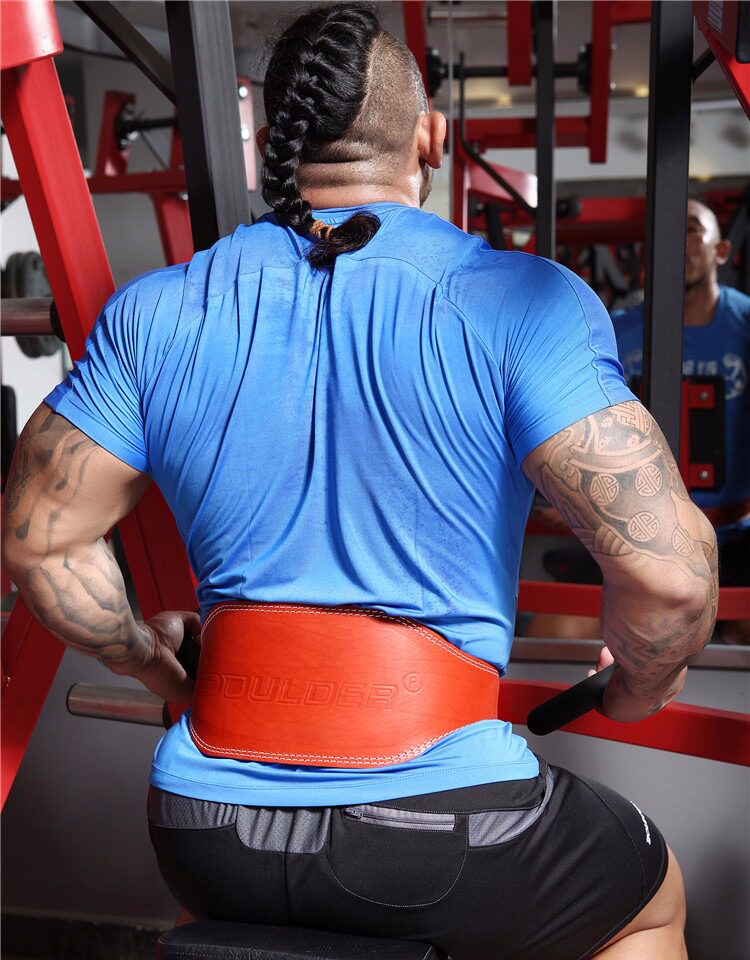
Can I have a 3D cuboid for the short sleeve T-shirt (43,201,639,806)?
[{"bbox_3d":[0.001,0.043,0.973,0.705,0.581,0.248,-1,-3,36],"label":"short sleeve T-shirt"}]
